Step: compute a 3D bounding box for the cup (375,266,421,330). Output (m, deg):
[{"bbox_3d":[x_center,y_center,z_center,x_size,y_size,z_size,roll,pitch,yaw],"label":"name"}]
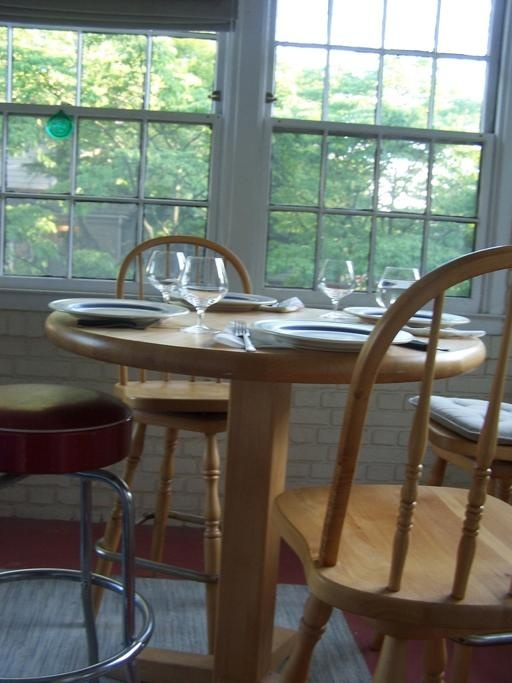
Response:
[{"bbox_3d":[0.277,-0.095,1.241,0.133,0.140,0.135,1,7,0],"label":"cup"}]
